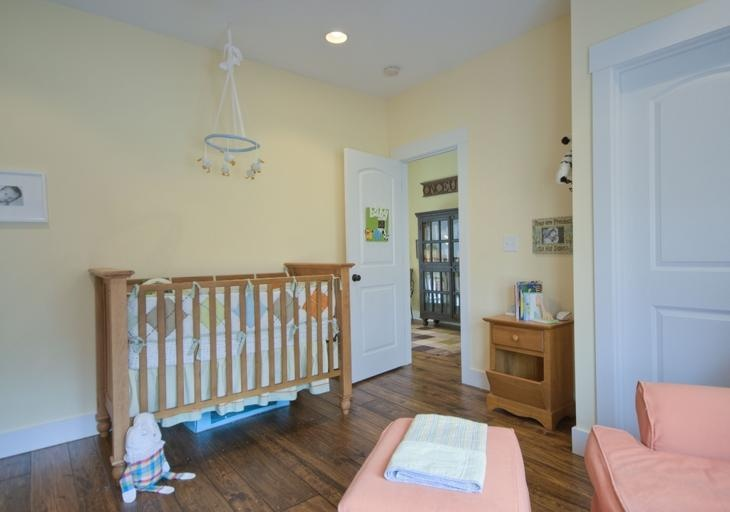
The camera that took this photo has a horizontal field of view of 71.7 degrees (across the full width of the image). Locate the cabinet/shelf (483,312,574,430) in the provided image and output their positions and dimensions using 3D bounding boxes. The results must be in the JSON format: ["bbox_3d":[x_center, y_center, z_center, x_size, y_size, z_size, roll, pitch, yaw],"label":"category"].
[{"bbox_3d":[1.261,0.855,3.901,0.405,0.745,0.596,-3,2,-37],"label":"cabinet/shelf"}]

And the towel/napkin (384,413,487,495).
[{"bbox_3d":[0.399,0.996,2.559,0.492,0.122,0.562,-1,9,16],"label":"towel/napkin"}]

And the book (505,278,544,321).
[{"bbox_3d":[1.248,0.351,3.858,0.257,0.348,0.273,4,-3,-27],"label":"book"}]

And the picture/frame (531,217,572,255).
[{"bbox_3d":[1.463,-0.155,3.921,0.296,0.283,0.020,-2,-1,42],"label":"picture/frame"}]
